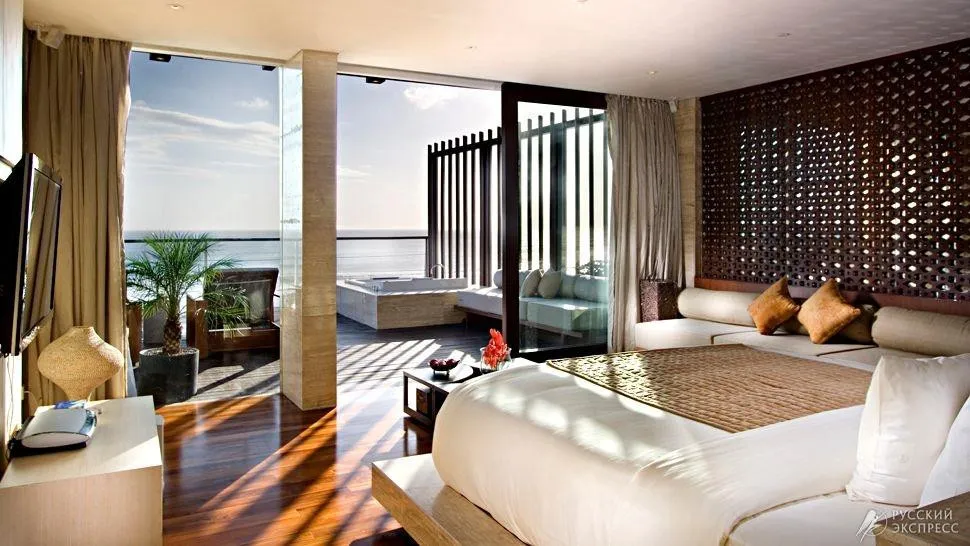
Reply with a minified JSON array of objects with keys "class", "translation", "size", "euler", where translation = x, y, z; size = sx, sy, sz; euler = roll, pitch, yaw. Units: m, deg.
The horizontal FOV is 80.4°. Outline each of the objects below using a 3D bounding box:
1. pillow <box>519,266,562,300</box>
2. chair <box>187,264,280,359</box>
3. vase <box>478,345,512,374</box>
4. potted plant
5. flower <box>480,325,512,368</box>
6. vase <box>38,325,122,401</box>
[{"class":"pillow","translation":[0.700,0.140,6.979],"size":[0.431,0.380,0.160],"euler":[17,-30,-17]},{"class":"chair","translation":[-2.959,0.418,6.685],"size":[1.277,1.028,0.664],"euler":[0,1,-35]},{"class":"vase","translation":[0.102,0.817,5.428],"size":[0.283,0.179,0.266],"euler":[2,-3,-16]},{"class":"potted plant","translation":[-3.668,0.414,6.506],"size":[1.605,1.950,1.730],"euler":[1,-1,-40]},{"class":"flower","translation":[0.145,0.716,5.574],"size":[0.394,0.457,0.363],"euler":[-2,-1,9]},{"class":"vase","translation":[-3.050,0.680,4.318],"size":[0.587,0.482,0.547],"euler":[4,4,-12]}]
